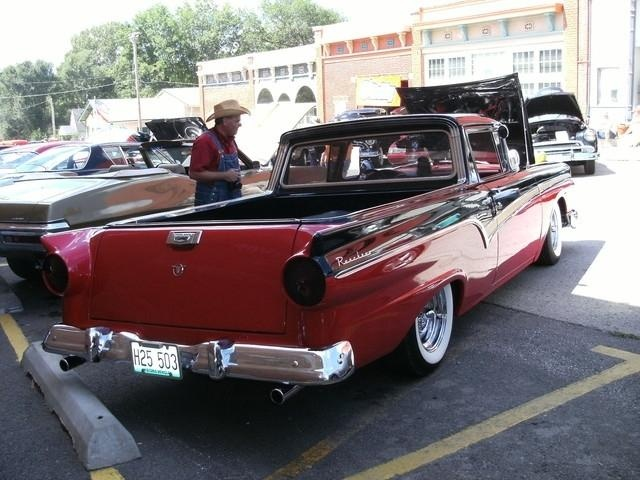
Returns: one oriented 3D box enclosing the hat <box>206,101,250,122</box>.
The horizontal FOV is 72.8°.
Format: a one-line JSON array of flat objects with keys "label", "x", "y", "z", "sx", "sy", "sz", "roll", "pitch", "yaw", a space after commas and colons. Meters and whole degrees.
[{"label": "hat", "x": -1.083, "y": -1.459, "z": 4.847, "sx": 0.466, "sy": 0.155, "sz": 0.357, "roll": -13, "pitch": 5, "yaw": 13}]
